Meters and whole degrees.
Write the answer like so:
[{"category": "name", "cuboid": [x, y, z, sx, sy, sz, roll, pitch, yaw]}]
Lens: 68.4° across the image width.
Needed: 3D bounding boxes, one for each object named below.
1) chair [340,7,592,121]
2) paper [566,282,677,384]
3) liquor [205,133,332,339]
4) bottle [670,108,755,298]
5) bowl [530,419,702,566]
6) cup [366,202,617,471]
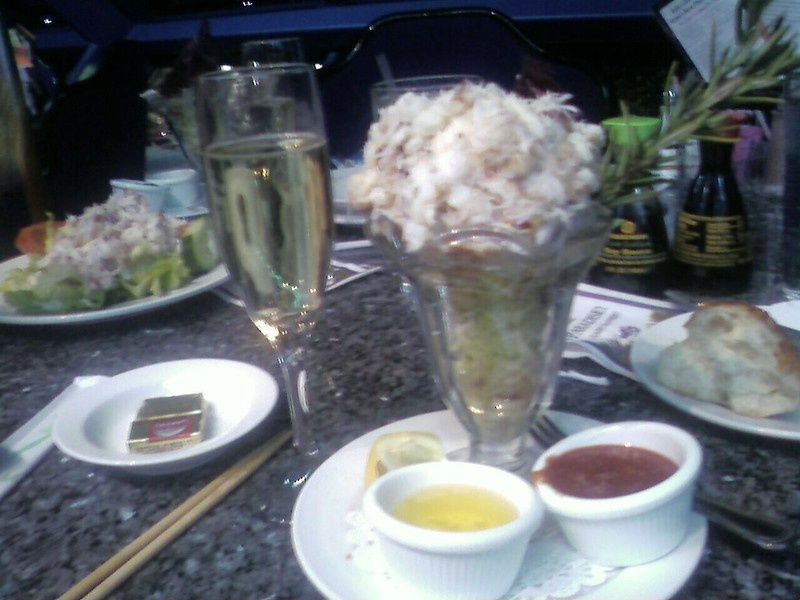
[{"category": "chair", "cuboid": [0.188, -0.840, 2.039, 0.963, 0.328, 0.512, 9, 26, 21]}, {"category": "paper", "cuboid": [0.245, 0.036, 0.687, 0.120, 0.039, 0.122, 5, 30, 41]}, {"category": "liquor", "cuboid": [-0.103, -0.043, 0.495, 0.096, 0.170, 0.046, -8, 22, -12]}, {"category": "bottle", "cuboid": [0.422, -0.109, 0.780, 0.098, 0.195, 0.119, 6, 22, 22]}, {"category": "bowl", "cuboid": [0.153, 0.136, 0.425, 0.108, 0.072, 0.088, 5, 20, 21]}, {"category": "cup", "cuboid": [0.080, 0.054, 0.466, 0.177, 0.172, 0.154, -2, -8, 13]}]
